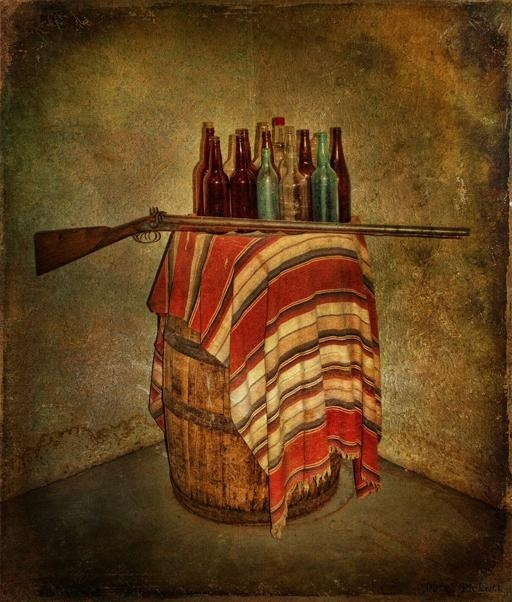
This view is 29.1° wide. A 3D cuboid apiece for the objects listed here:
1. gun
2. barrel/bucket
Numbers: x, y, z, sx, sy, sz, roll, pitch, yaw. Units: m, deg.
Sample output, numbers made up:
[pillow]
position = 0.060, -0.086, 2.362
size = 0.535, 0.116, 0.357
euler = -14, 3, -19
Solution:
[gun]
position = 0.013, -0.245, 4.077
size = 1.568, 0.255, 0.101
euler = 4, 36, 2
[barrel/bucket]
position = -0.081, 0.485, 4.254
size = 0.759, 0.786, 0.762
euler = -6, 4, 0
